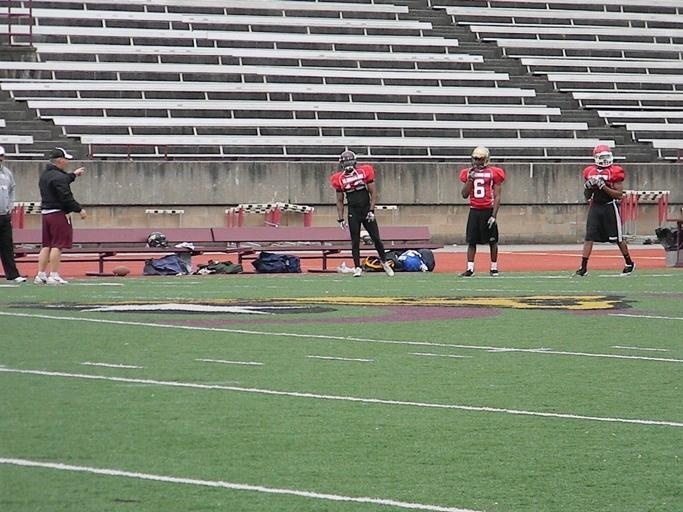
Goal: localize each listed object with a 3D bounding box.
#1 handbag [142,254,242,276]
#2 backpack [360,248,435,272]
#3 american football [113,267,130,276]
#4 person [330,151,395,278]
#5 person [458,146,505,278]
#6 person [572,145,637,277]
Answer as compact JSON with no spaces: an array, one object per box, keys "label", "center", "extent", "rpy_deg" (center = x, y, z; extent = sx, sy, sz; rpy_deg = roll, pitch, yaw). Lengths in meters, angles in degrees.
[{"label":"handbag","center":[-3.602,0.174,39.581],"extent":[2.213,0.523,0.873],"rpy_deg":[-2,-1,-14]},{"label":"backpack","center":[1.514,0.094,40.104],"extent":[1.302,0.375,0.716],"rpy_deg":[0,3,7]},{"label":"american football","center":[-5.165,0.344,39.162],"extent":[0.337,0.162,0.203],"rpy_deg":[-3,6,3]},{"label":"person","center":[0.391,-0.978,38.116],"extent":[1.060,2.834,1.077],"rpy_deg":[-3,-2,0]},{"label":"person","center":[3.206,-1.020,37.828],"extent":[1.032,2.949,0.843],"rpy_deg":[-3,-2,-6]},{"label":"person","center":[5.984,-1.081,37.667],"extent":[1.314,2.942,1.217],"rpy_deg":[10,12,39]}]
